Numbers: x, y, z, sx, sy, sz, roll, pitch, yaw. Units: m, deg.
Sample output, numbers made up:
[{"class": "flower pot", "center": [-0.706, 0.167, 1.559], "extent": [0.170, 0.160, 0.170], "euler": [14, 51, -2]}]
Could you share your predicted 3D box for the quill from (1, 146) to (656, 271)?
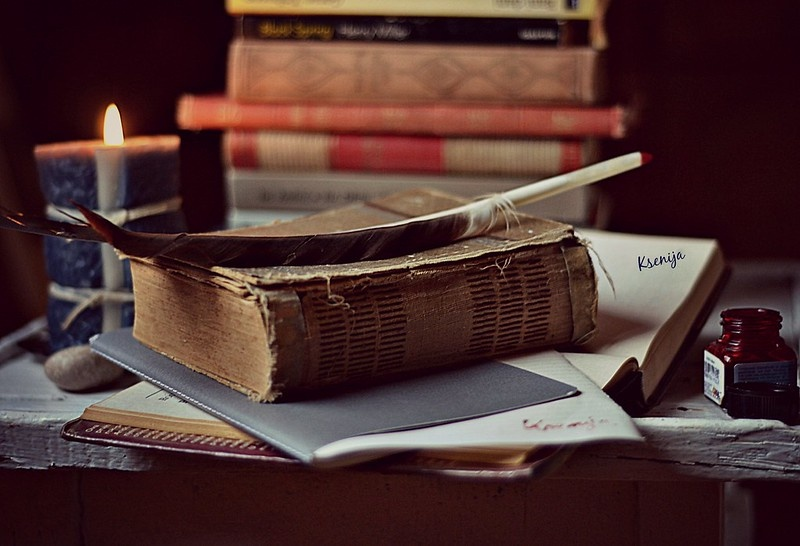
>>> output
[{"class": "quill", "center": [-0.009, -0.066, 0.780], "extent": [0.555, 0.101, 0.058], "euler": [-3, 12, -21]}]
